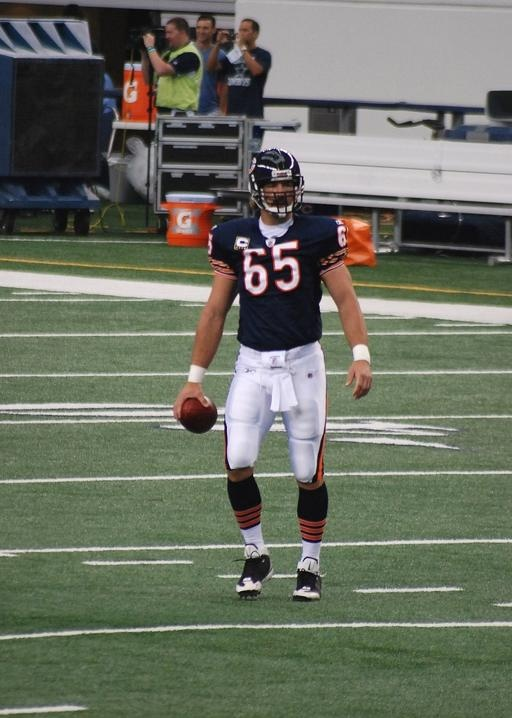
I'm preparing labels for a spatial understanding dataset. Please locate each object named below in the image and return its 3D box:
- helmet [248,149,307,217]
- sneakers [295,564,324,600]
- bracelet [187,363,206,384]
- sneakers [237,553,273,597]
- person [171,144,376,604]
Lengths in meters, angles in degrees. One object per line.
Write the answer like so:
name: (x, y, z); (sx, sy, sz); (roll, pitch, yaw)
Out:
helmet: (0.055, -0.650, 6.596); (0.186, 0.224, 0.257); (-5, 24, -13)
sneakers: (0.197, 0.799, 6.442); (0.098, 0.137, 0.110); (4, 8, 5)
bracelet: (-0.218, 0.047, 6.635); (0.069, 0.075, 0.070); (11, -6, 13)
sneakers: (0.006, 0.784, 6.464); (0.069, 0.094, 0.208); (1, 10, 9)
person: (0.060, 0.155, 6.540); (0.686, 1.385, 0.500); (3, 8, -3)
